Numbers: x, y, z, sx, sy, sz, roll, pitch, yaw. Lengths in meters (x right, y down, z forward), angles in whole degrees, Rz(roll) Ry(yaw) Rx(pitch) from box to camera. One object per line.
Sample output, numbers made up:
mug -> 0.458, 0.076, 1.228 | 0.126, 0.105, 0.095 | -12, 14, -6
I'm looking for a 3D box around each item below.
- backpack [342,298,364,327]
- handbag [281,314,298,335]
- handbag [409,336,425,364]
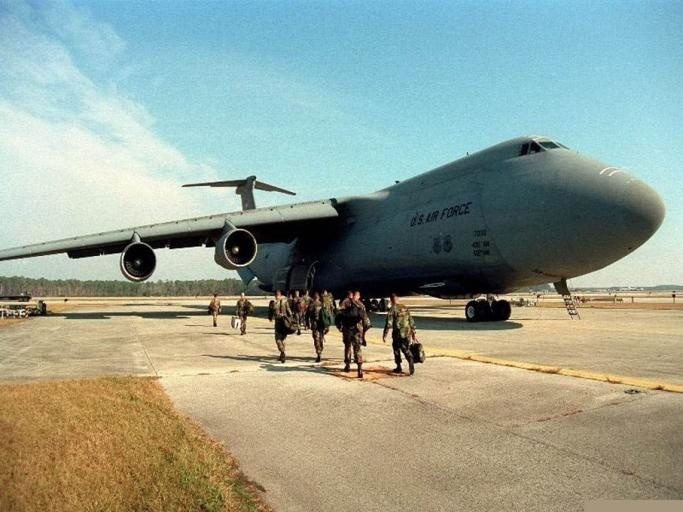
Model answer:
backpack -> 0.193, 1.176, 9.498 | 0.387, 0.456, 0.500 | 5, -28, -8
handbag -> -1.190, 1.636, 11.004 | 0.366, 0.429, 0.186 | -1, 5, 44
handbag -> 1.477, 1.914, 9.124 | 0.259, 0.375, 0.317 | 0, -1, -12
